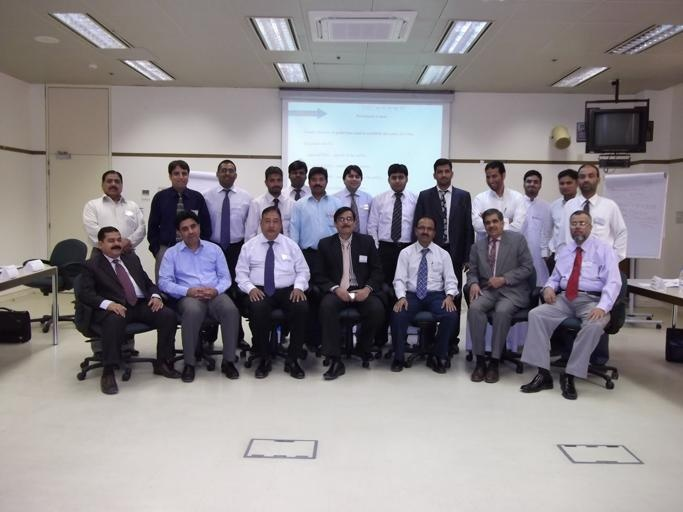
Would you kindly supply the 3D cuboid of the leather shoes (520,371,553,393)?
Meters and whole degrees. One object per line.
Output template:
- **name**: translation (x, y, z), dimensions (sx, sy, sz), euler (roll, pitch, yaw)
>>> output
- **leather shoes**: translation (1.800, 1.159, 4.772), dimensions (0.353, 0.162, 0.142), euler (-1, -1, -21)

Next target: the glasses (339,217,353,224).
- **glasses**: translation (0.055, -0.360, 5.214), dimensions (0.116, 0.069, 0.040), euler (0, 13, -1)

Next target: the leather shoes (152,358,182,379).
- **leather shoes**: translation (-1.677, 1.085, 5.020), dimensions (0.328, 0.247, 0.123), euler (1, -1, 10)

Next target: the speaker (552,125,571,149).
- **speaker**: translation (3.393, -1.842, 8.101), dimensions (0.292, 0.324, 0.346), euler (1, 48, 9)

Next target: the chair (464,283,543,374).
- **chair**: translation (1.790, 0.745, 5.318), dimensions (0.858, 1.273, 0.818), euler (-4, -16, 24)

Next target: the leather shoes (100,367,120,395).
- **leather shoes**: translation (-2.088, 1.107, 4.606), dimensions (0.151, 0.204, 0.243), euler (-6, 15, -27)

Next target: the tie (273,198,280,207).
- **tie**: translation (-0.737, -0.596, 5.768), dimensions (0.089, 0.135, 0.035), euler (-1, 8, -9)

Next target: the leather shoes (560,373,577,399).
- **leather shoes**: translation (2.034, 1.150, 4.599), dimensions (0.157, 0.181, 0.220), euler (7, 15, 25)

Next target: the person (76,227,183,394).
- **person**: translation (-2.251, 0.697, 4.948), dimensions (0.771, 0.968, 0.726), euler (7, 9, 15)

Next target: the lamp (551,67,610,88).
- **lamp**: translation (3.419, -2.554, 7.384), dimensions (0.455, 0.202, 0.958), euler (1, 14, 0)

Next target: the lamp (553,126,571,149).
- **lamp**: translation (3.393, -1.807, 8.074), dimensions (0.280, 0.311, 0.330), euler (2, 48, 8)

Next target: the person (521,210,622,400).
- **person**: translation (2.133, 0.534, 4.770), dimensions (0.676, 1.310, 0.891), euler (10, 16, 35)

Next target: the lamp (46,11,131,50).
- **lamp**: translation (-2.861, -2.588, 5.953), dimensions (0.639, 0.297, 0.679), euler (2, 14, 6)

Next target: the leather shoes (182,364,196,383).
- **leather shoes**: translation (-1.451, 1.099, 4.835), dimensions (0.120, 0.141, 0.130), euler (-2, 14, -12)

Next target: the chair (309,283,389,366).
- **chair**: translation (0.068, 0.678, 4.981), dimensions (0.638, 0.764, 0.640), euler (0, -14, 1)

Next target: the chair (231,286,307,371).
- **chair**: translation (-0.675, 0.752, 5.061), dimensions (0.682, 0.790, 0.448), euler (0, 13, -3)

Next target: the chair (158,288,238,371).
- **chair**: translation (-1.320, 0.695, 4.917), dimensions (0.587, 0.792, 0.636), euler (1, -15, -14)

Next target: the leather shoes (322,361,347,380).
- **leather shoes**: translation (-0.068, 1.094, 4.909), dimensions (0.104, 0.190, 0.257), euler (-5, -10, 36)
